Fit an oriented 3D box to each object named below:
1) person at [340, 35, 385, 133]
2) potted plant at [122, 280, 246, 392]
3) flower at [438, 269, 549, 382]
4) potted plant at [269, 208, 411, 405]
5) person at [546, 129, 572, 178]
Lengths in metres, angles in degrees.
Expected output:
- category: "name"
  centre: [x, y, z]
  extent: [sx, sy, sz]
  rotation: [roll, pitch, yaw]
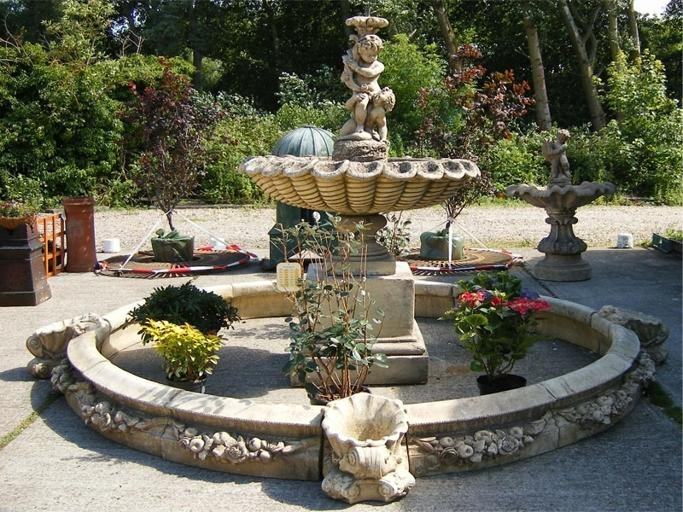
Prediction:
- category: "person"
  centre: [0.189, -1.683, 5.860]
  extent: [0.404, 0.971, 0.483]
  rotation: [-1, 13, 2]
- category: "potted plant"
  centre: [-1.368, 0.817, 5.439]
  extent: [0.988, 1.064, 1.115]
  rotation: [-2, 4, -1]
- category: "flower"
  centre: [1.323, 0.690, 5.106]
  extent: [0.798, 0.991, 0.864]
  rotation: [3, 13, 18]
- category: "potted plant"
  centre: [-0.064, 0.686, 4.899]
  extent: [0.752, 1.291, 0.797]
  rotation: [8, -29, -32]
- category: "person"
  centre: [3.625, -1.681, 10.020]
  extent: [0.434, 0.817, 1.137]
  rotation: [4, 13, 20]
